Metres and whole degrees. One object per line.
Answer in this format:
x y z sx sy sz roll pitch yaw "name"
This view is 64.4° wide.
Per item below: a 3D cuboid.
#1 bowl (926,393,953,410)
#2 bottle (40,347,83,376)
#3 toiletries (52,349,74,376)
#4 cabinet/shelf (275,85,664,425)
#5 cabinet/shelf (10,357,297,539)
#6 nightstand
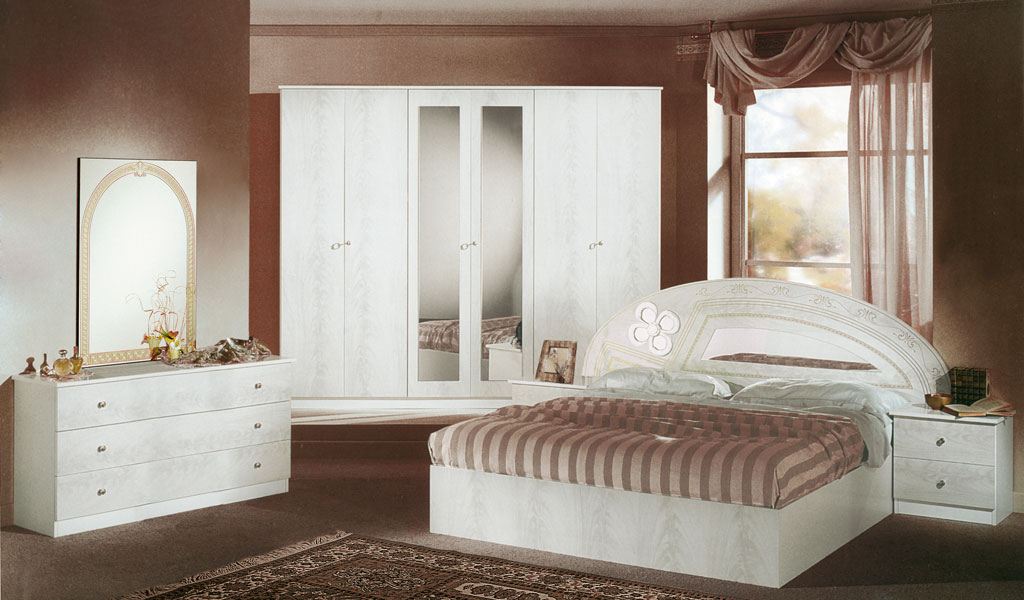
3.278 0.774 6.249 0.142 0.070 0.133 -1 0 0 "bowl"
-3.314 0.462 6.011 0.328 0.201 0.189 0 2 -3 "bottle"
-3.286 0.455 5.946 0.134 0.167 0.185 -6 12 -29 "toiletries"
-0.401 -0.488 7.505 3.711 2.732 0.887 0 0 -1 "cabinet/shelf"
-2.718 1.055 6.202 1.915 1.098 0.495 -6 13 -32 "cabinet/shelf"
3.294 1.155 6.347 1.088 0.926 0.782 -1 -3 33 "nightstand"
